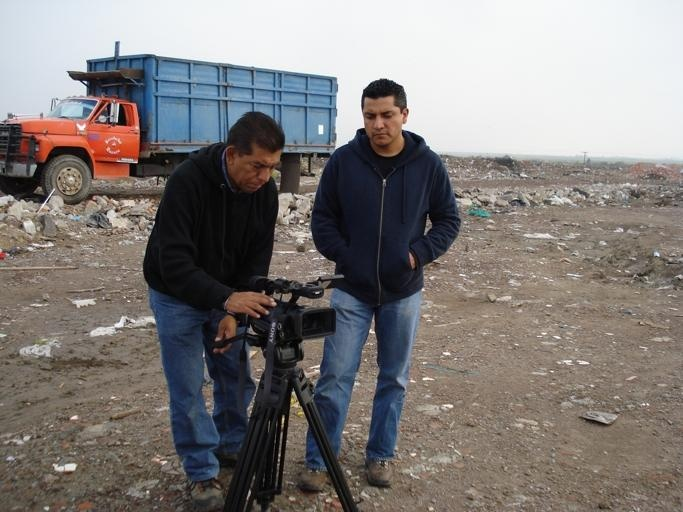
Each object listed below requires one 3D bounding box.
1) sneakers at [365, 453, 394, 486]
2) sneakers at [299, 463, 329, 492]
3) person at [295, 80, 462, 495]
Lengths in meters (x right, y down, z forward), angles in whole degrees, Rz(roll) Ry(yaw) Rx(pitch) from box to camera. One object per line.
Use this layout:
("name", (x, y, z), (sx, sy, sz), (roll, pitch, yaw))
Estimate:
("sneakers", (0.245, 1.392, 2.977), (0.109, 0.096, 0.242), (2, -9, -11))
("sneakers", (-0.200, 1.392, 2.918), (0.211, 0.132, 0.110), (-5, -8, 42))
("person", (0.204, 0.183, 2.932), (1.096, 2.537, 0.600), (-6, 12, -34))
